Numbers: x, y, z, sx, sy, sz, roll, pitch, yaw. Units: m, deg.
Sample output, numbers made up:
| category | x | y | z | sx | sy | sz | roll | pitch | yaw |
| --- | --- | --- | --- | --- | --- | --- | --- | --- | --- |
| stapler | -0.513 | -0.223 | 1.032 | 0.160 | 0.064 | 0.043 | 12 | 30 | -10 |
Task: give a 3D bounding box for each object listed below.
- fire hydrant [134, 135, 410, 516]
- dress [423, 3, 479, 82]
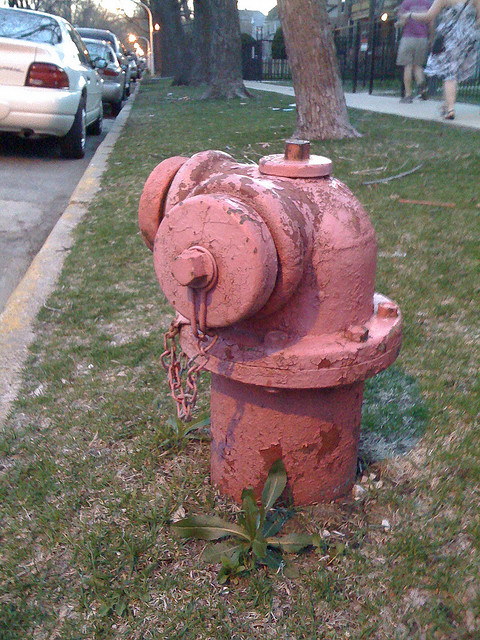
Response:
| category | x | y | z | sx | sy | sz | roll | pitch | yaw |
| --- | --- | --- | --- | --- | --- | --- | --- | --- | --- |
| fire hydrant | 0.097 | 0.073 | 1.800 | 0.767 | 1.126 | 0.710 | -3 | 19 | 0 |
| dress | 2.976 | -3.862 | 8.627 | 0.681 | 0.981 | 0.428 | 4 | 19 | 19 |
